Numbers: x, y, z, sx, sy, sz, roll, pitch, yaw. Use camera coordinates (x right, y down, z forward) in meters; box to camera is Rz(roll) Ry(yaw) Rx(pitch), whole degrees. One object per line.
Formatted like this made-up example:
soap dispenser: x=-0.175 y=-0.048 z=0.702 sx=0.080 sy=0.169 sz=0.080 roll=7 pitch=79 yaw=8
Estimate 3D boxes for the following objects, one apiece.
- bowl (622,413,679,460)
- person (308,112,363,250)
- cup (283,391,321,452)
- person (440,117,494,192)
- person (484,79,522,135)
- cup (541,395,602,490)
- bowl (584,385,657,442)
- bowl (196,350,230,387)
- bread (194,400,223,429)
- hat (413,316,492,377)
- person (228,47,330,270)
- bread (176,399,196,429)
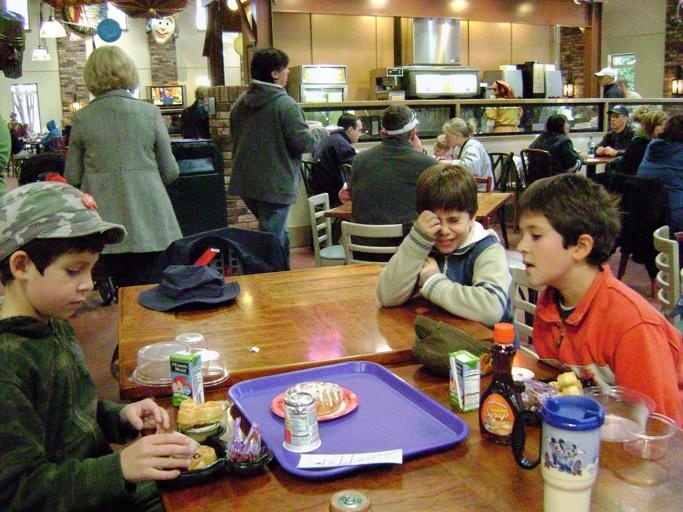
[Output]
bowl: x=0.598 y=0.353 z=1.031 sx=0.075 sy=0.047 sz=0.075 roll=-4 pitch=24 yaw=2
person: x=0.028 y=-1.002 z=6.119 sx=0.674 sy=1.227 sz=0.567 roll=-9 pitch=40 yaw=-18
cup: x=-0.076 y=0.336 z=1.104 sx=0.097 sy=0.114 sz=0.094 roll=-1 pitch=7 yaw=0
person: x=1.533 y=-1.068 z=6.660 sx=0.645 sy=1.215 sz=0.594 roll=9 pitch=18 yaw=41
person: x=2.425 y=-2.015 z=7.937 sx=0.561 sy=1.152 sz=0.456 roll=-3 pitch=19 yaw=1
cup: x=0.380 y=0.307 z=0.887 sx=0.090 sy=0.113 sz=0.110 roll=5 pitch=16 yaw=27
bowl: x=0.549 y=0.324 z=1.079 sx=0.125 sy=0.049 sz=0.125 roll=-1 pitch=19 yaw=0
bowl: x=-0.322 y=0.285 z=1.345 sx=0.085 sy=0.042 sz=0.085 roll=1 pitch=9 yaw=0
bread: x=-0.276 y=0.327 z=1.115 sx=0.049 sy=0.019 sz=0.038 roll=-8 pitch=18 yaw=-21
hat: x=0.308 y=0.230 z=1.399 sx=0.235 sy=0.115 sz=0.176 roll=1 pitch=6 yaw=-2
person: x=-0.525 y=-0.763 z=4.020 sx=0.744 sy=1.524 sz=0.453 roll=-1 pitch=14 yaw=6
bread: x=-0.320 y=0.324 z=1.097 sx=0.036 sy=0.020 sz=0.056 roll=-2 pitch=14 yaw=-17
